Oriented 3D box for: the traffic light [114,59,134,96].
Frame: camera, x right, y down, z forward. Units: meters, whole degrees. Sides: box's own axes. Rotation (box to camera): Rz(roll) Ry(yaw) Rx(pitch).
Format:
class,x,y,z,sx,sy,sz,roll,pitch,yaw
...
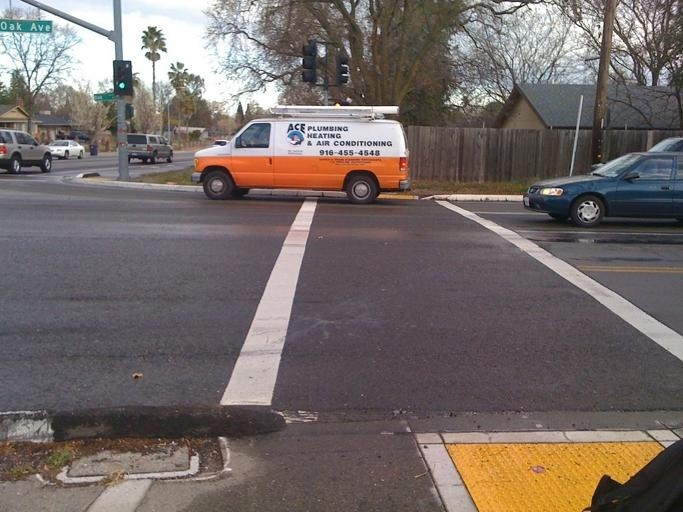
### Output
class,x,y,z,sx,sy,sz,roll,pitch,yaw
traffic light,-8.173,-6.652,24.386,1.199,1.363,0.638,14,19,41
